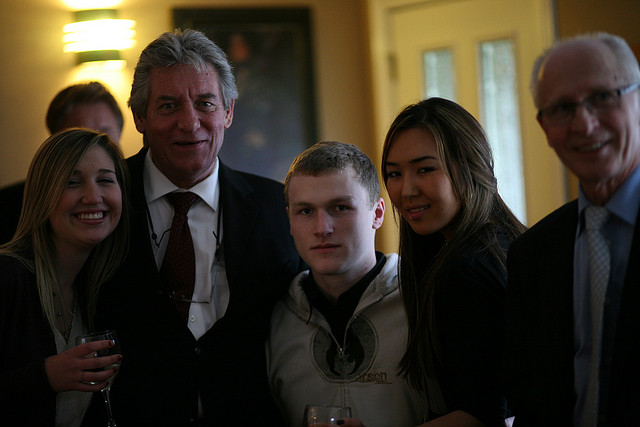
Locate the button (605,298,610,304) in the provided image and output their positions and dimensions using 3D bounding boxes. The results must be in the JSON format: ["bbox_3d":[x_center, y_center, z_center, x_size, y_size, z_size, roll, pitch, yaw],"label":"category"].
[{"bbox_3d":[1.101,0.338,2.516,0.017,0.018,0.004,25,1,43],"label":"button"}]

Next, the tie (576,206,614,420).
[{"bbox_3d":[1.055,0.381,2.541,0.136,0.814,0.159,-2,2,41],"label":"tie"}]

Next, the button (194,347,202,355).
[{"bbox_3d":[-0.594,0.669,3.172,0.038,0.039,0.009,-1,2,-13],"label":"button"}]

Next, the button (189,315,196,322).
[{"bbox_3d":[-0.625,0.517,3.215,0.027,0.030,0.011,-4,1,-3],"label":"button"}]

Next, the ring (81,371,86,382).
[{"bbox_3d":[-1.006,0.694,2.782,0.010,0.045,0.032,-5,2,-45],"label":"ring"}]

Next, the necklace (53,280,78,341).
[{"bbox_3d":[-1.219,0.472,3.125,0.084,0.282,0.013,-2,9,-14],"label":"necklace"}]

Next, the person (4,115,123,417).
[{"bbox_3d":[-1.231,0.291,3.176,0.597,1.411,0.970,-4,1,-17],"label":"person"}]

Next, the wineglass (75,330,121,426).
[{"bbox_3d":[-0.986,0.766,2.943,0.175,0.427,0.359,-4,1,-19],"label":"wineglass"}]

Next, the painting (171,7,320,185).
[{"bbox_3d":[-0.506,-0.944,5.215,0.972,1.172,0.104,-4,1,-8],"label":"painting"}]

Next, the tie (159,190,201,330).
[{"bbox_3d":[-0.702,0.259,3.272,0.196,0.660,0.067,-1,-20,-10],"label":"tie"}]

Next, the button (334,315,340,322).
[{"bbox_3d":[0.079,0.505,3.156,0.025,0.021,0.004,-3,1,9],"label":"button"}]
